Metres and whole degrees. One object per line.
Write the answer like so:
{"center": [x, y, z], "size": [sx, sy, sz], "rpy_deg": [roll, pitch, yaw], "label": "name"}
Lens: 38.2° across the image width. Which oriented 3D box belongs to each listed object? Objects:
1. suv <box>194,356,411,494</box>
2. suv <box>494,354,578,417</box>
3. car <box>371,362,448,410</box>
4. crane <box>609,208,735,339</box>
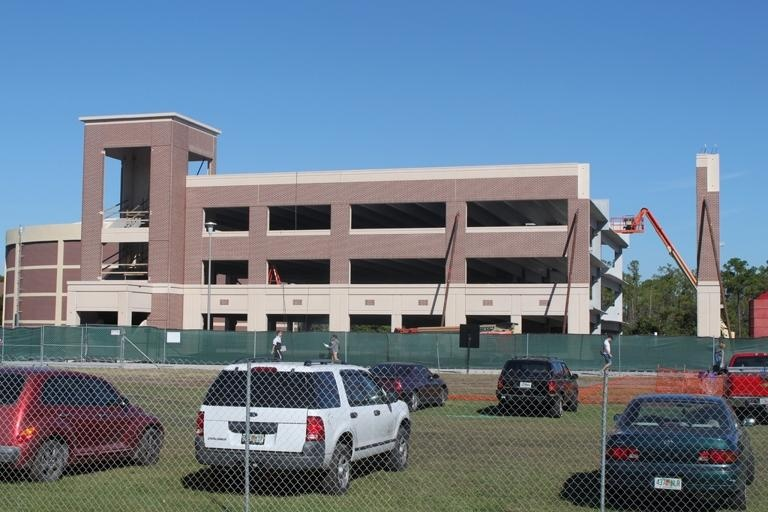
{"center": [-2.065, 4.972, 33.726], "size": [3.343, 2.720, 5.850], "rpy_deg": [-1, -1, 28], "label": "suv"}
{"center": [6.200, 5.255, 44.946], "size": [3.295, 2.392, 1.823], "rpy_deg": [2, -6, -8], "label": "suv"}
{"center": [1.121, 5.484, 45.486], "size": [2.193, 2.079, 5.775], "rpy_deg": [-3, -4, 35], "label": "car"}
{"center": [25.670, 0.945, 99.342], "size": [8.546, 10.510, 1.380], "rpy_deg": [9, 31, 33], "label": "crane"}
